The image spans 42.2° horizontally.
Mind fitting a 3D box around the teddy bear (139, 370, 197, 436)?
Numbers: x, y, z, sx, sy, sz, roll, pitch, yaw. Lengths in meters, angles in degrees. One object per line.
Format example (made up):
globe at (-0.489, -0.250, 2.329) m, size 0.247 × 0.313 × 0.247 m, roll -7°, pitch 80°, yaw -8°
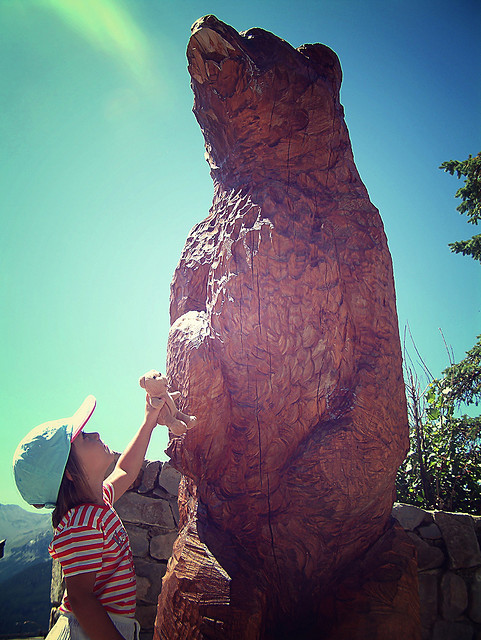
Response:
teddy bear at (-0.244, 0.284, 2.210) m, size 0.166 × 0.238 × 0.159 m, roll -4°, pitch 19°, yaw 17°
